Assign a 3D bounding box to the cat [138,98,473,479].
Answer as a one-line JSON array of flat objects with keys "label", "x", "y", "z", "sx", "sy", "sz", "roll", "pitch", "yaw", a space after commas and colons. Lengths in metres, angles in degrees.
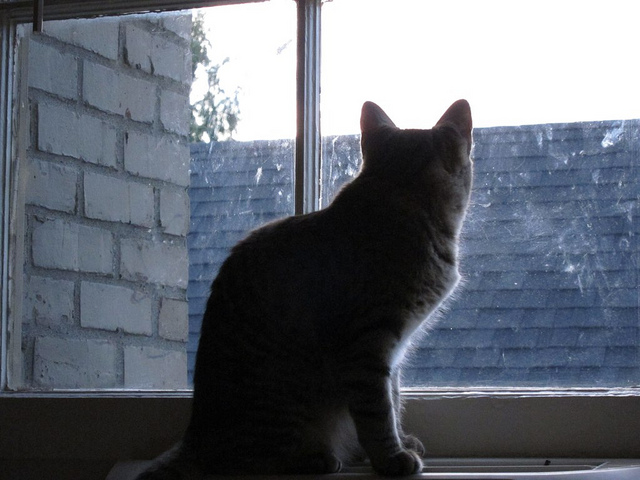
[{"label": "cat", "x": 0.031, "y": 0.080, "z": 3.286, "sx": 0.912, "sy": 0.871, "sz": 0.616, "roll": 3, "pitch": -10, "yaw": -32}]
